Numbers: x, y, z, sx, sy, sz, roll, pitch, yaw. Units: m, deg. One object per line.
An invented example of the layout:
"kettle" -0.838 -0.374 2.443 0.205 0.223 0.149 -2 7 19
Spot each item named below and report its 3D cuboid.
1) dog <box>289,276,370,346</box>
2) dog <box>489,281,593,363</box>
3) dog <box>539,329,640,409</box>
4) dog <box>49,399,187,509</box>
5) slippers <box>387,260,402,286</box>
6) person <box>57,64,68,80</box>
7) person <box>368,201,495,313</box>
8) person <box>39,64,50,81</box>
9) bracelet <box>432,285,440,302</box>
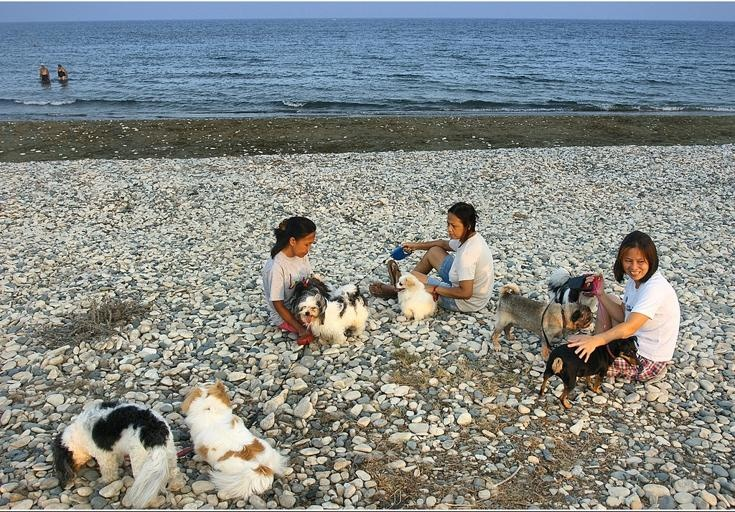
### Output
"dog" -0.543 0.772 6.487 0.913 0.634 0.493 -29 45 -30
"dog" 2.202 0.870 6.188 1.297 0.756 0.601 10 10 39
"dog" 2.450 1.219 5.503 1.168 0.705 0.413 0 13 -23
"dog" -2.344 1.832 4.816 1.309 0.674 0.826 9 21 13
"slippers" 0.399 0.258 7.691 0.183 0.414 0.119 -7 15 -23
"person" -19.754 -11.738 31.491 0.500 0.843 1.335 -17 33 -29
"person" 1.059 0.019 7.061 0.944 1.730 1.268 -23 39 -37
"person" -20.689 -11.613 31.131 0.517 1.007 2.112 -16 32 -28
"bracelet" 0.972 0.556 7.080 0.096 0.197 0.168 5 -2 -6
